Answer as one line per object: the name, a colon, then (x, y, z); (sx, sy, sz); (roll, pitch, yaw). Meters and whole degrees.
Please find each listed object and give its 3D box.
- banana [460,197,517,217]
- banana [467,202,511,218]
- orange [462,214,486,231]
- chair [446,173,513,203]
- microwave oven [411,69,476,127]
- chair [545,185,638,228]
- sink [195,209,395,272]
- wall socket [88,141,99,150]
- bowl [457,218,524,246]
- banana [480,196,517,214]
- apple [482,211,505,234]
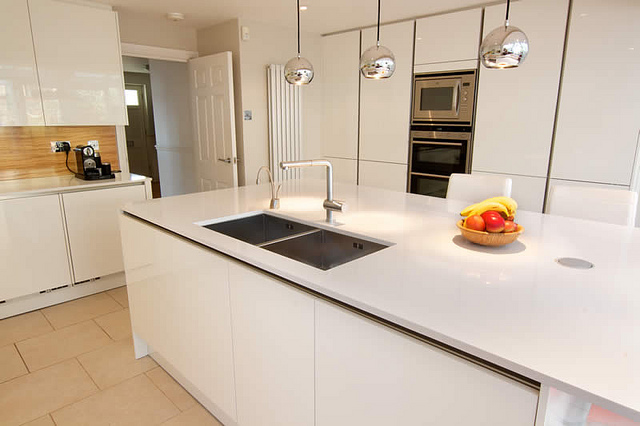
banana: (1.016, -0.039, 2.570); (0.213, 0.065, 0.169); (-18, 11, -4)
banana: (0.975, -0.021, 2.551); (0.258, 0.079, 0.129); (-3, 16, -17)
orange: (0.884, 0.056, 2.494); (0.093, 0.086, 0.087); (3, 37, 0)
chair: (1.316, -0.208, 3.574); (0.508, 0.329, 0.260); (6, 4, 38)
microwave oven: (1.525, -1.373, 5.159); (0.762, 0.609, 0.458); (9, 20, 33)
chair: (2.054, -0.080, 3.346); (0.598, 0.304, 0.558); (8, 3, 27)
sink: (-0.168, 0.137, 2.826); (0.995, 0.221, 0.450); (13, 14, 41)
wall socket: (-2.457, -0.736, 4.724); (0.106, 0.090, 0.037); (-6, 18, -27)
bowl: (0.986, 0.119, 2.524); (0.370, 0.118, 0.211); (4, 15, 10)
banana: (1.108, -0.046, 2.672); (0.122, 0.056, 0.207); (-18, 15, -7)
apple: (0.974, 0.053, 2.440); (0.113, 0.058, 0.111); (5, 27, 21)
